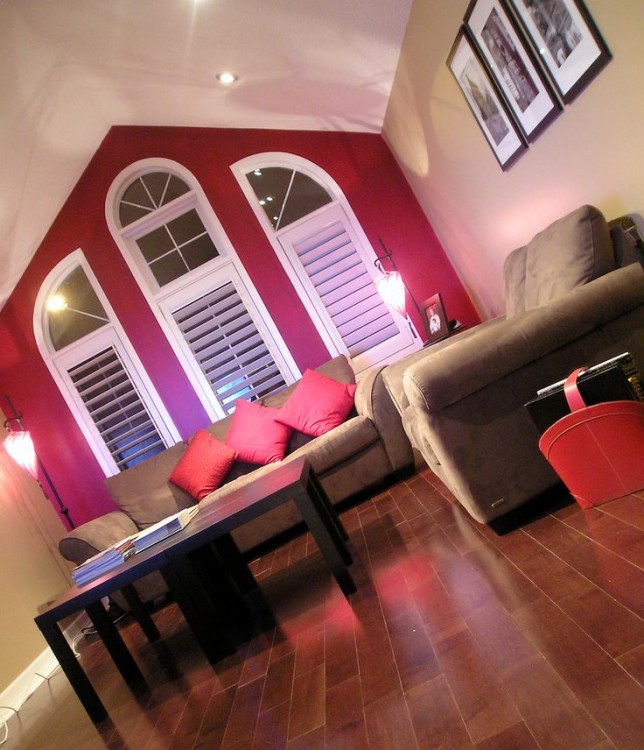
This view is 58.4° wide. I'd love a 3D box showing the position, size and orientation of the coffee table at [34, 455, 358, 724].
[{"bbox_3d":[-0.423,0.755,2.203,1.062,0.504,0.895,-31,1,-5],"label":"coffee table"}]
